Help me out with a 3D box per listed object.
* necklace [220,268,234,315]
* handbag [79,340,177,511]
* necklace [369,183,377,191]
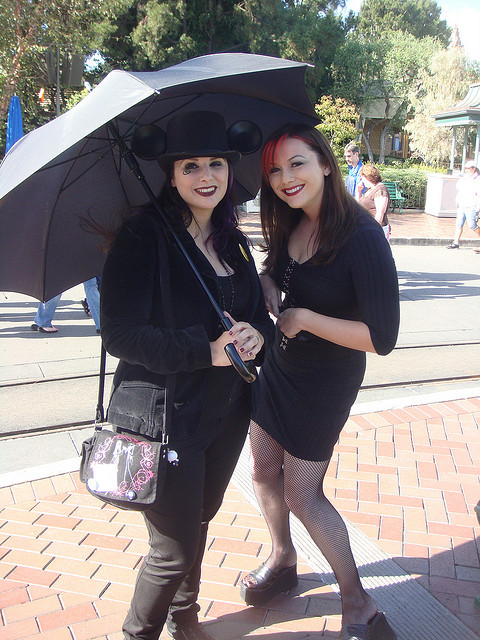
[{"bbox_3d":[-0.038,-0.088,1.682,0.041,0.140,0.106,2,11,0],"label":"necklace"},{"bbox_3d":[-0.334,0.284,1.489,0.361,0.445,0.216,9,13,30],"label":"handbag"},{"bbox_3d":[2.088,-2.067,8.248,0.274,0.036,0.042,-40,5,-35],"label":"necklace"}]
